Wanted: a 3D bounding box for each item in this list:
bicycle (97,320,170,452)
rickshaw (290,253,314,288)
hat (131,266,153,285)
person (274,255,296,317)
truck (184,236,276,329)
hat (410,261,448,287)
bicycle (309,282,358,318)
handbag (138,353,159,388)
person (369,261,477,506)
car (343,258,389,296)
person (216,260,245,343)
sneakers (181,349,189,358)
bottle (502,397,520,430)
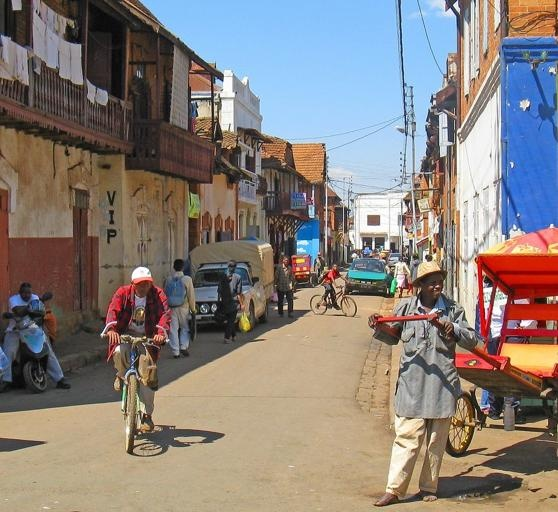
[{"bbox_3d":[-1.514,1.459,9.693,0.406,1.215,0.996,-2,-2,-10],"label":"bicycle"},{"bbox_3d":[1.139,0.610,44.554,0.861,1.213,1.683,0,6,3],"label":"rickshaw"},{"bbox_3d":[-1.466,0.215,9.878,0.205,0.205,0.375,1,-6,-9],"label":"hat"},{"bbox_3d":[0.180,0.888,25.079,0.502,1.694,0.905,-2,-2,1],"label":"person"},{"bbox_3d":[-1.179,0.566,24.112,1.322,1.807,3.317,-1,-5,5],"label":"truck"},{"bbox_3d":[1.326,0.122,8.100,0.189,0.111,0.253,-9,-21,-6],"label":"hat"},{"bbox_3d":[1.629,1.400,27.021,1.373,1.015,0.761,-1,4,15],"label":"bicycle"},{"bbox_3d":[-1.418,1.258,9.672,0.195,0.301,0.371,1,-28,4],"label":"handbag"},{"bbox_3d":[1.302,1.113,7.963,0.920,1.584,0.636,-2,-1,8],"label":"person"},{"bbox_3d":[3.706,0.823,37.080,1.127,1.181,2.641,-1,-6,6],"label":"car"},{"bbox_3d":[-1.016,0.969,18.624,0.514,1.648,0.421,-2,-1,-16],"label":"person"},{"bbox_3d":[-1.746,1.817,16.649,0.133,0.158,0.087,2,2,32],"label":"sneakers"},{"bbox_3d":[2.597,1.781,9.998,0.154,0.308,0.309,-3,-2,15],"label":"bottle"}]
